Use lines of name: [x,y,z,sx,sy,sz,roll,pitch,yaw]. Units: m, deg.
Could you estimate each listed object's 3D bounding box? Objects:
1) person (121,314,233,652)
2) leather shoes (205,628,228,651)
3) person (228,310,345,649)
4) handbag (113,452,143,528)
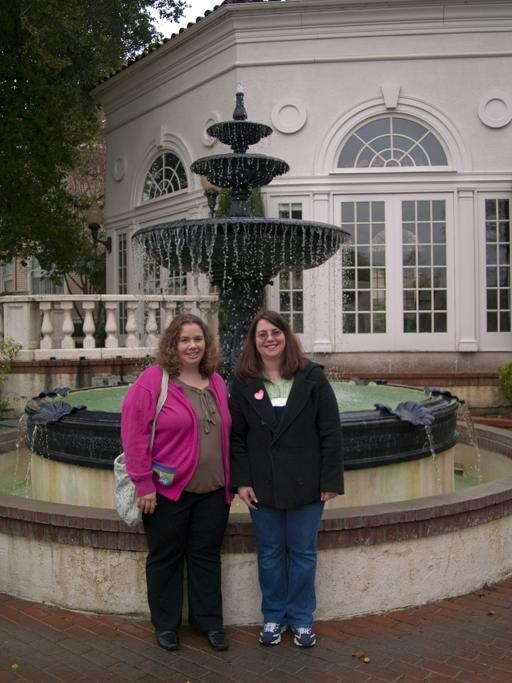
person: [-0.328,0.667,3.850,0.468,1.441,0.632,5,14,20]
leather shoes: [-0.187,1.420,3.779,0.091,0.060,0.136,-3,14,-11]
person: [0.136,0.656,3.865,0.477,1.522,0.607,-9,16,-34]
handbag: [-0.610,0.666,3.865,0.127,0.367,0.280,1,28,-7]
